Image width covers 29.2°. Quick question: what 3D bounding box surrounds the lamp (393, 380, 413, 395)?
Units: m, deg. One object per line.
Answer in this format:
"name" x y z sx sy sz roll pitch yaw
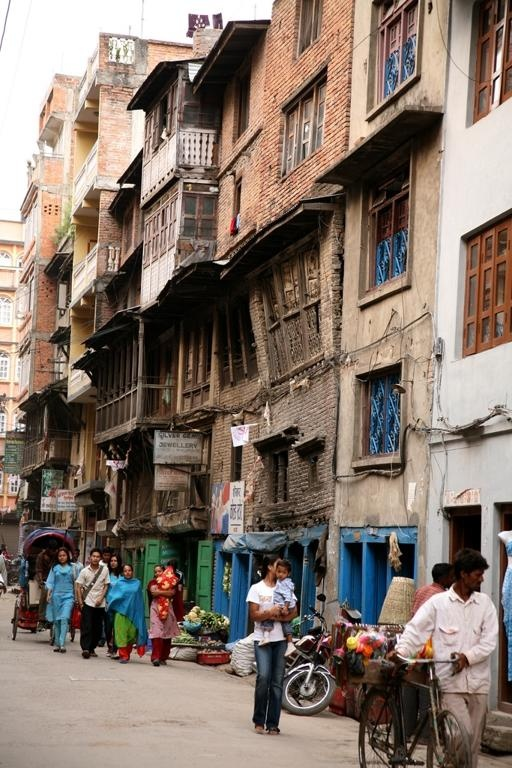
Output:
"lamp" 1.887 0.072 12.816 0.158 0.186 0.183 12 -48 3

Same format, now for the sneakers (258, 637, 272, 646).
"sneakers" 0.076 2.256 8.650 0.117 0.096 0.043 -2 -16 1

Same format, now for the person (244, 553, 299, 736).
"person" 0.130 2.312 8.795 0.422 1.528 0.511 -1 -12 15

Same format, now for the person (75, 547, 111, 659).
"person" -2.652 3.517 15.881 0.523 1.719 0.789 5 -12 -11

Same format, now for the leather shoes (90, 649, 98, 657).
"leather shoes" -2.637 4.396 16.092 0.066 0.137 0.184 7 -22 -21

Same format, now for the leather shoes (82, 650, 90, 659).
"leather shoes" -2.677 4.251 15.497 0.088 0.128 0.120 -10 -22 31

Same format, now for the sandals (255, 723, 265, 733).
"sandals" 0.035 2.993 8.581 0.035 0.082 0.105 3 0 -14

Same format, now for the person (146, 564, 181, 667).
"person" -1.587 3.809 16.483 0.545 1.708 0.913 0 -12 14

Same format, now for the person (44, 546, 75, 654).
"person" -3.343 3.658 16.798 0.484 1.732 1.246 4 -13 -10

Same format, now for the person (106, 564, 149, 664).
"person" -2.051 3.639 15.610 0.637 1.461 0.459 4 -12 -9

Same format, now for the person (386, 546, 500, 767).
"person" 1.042 1.467 5.457 0.550 1.063 0.430 -1 -12 16
